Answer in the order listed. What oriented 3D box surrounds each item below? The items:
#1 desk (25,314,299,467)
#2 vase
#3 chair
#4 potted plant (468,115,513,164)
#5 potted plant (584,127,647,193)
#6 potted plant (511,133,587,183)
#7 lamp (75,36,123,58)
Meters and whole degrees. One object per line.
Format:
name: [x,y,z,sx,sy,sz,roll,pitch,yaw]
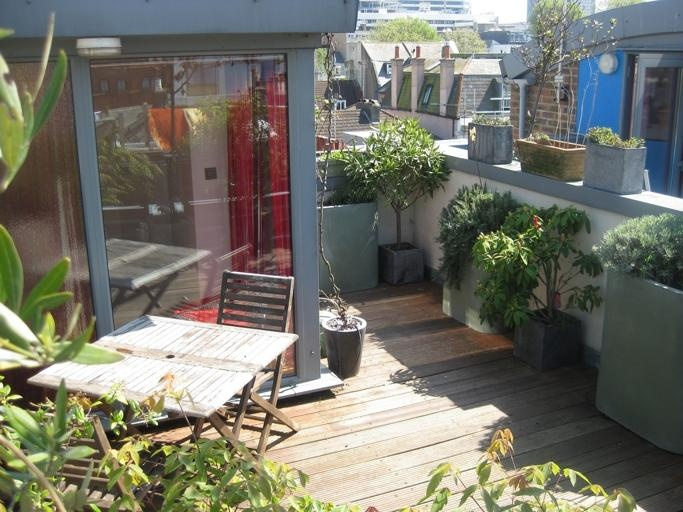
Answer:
desk: [-0.948,0.922,3.074,1.133,0.708,1.194,2,12,5]
vase: [1.897,0.780,4.827,0.472,0.379,0.511,-2,7,-10]
chair: [-0.703,0.774,3.418,0.722,1.191,1.007,2,5,25]
potted plant: [1.634,-1.321,5.770,0.254,0.503,0.508,-9,22,-16]
potted plant: [2.294,-0.817,4.396,0.469,0.532,0.343,7,18,31]
potted plant: [2.017,-0.959,5.049,0.368,0.304,0.637,-7,16,-22]
lamp: [-1.549,-1.356,3.346,0.272,0.110,0.228,-10,18,-24]
